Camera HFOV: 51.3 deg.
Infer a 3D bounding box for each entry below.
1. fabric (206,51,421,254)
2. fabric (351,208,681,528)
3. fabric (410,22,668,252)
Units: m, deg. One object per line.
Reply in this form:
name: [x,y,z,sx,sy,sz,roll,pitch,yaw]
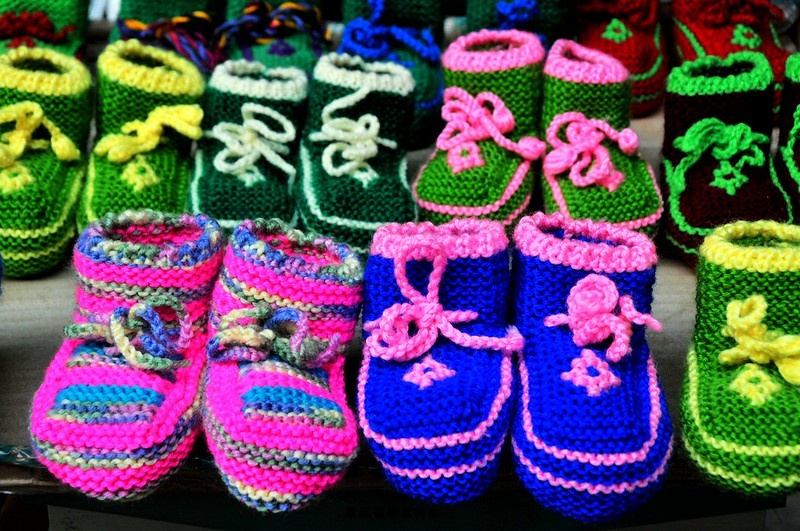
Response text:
fabric: [-0.134,-0.261,1.873,0.238,0.262,0.626,3,26,-9]
fabric: [0.252,0.119,1.621,0.491,0.265,0.601,1,34,2]
fabric: [0.317,-0.298,1.911,0.584,0.362,0.468,0,31,4]
